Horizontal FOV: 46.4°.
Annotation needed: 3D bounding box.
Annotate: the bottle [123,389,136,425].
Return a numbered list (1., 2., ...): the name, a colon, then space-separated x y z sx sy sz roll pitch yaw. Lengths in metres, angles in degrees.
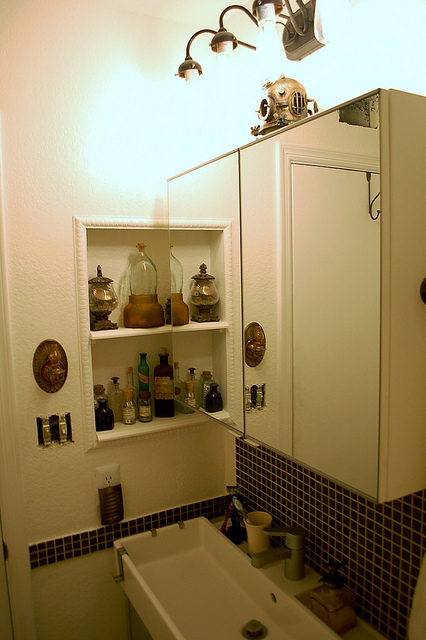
1. bottle: -0.271 0.280 1.593 0.037 0.117 0.028 -8 5 -22

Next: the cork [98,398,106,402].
1. cork: -0.347 0.253 1.555 0.023 0.013 0.012 -8 5 -7

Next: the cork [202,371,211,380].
1. cork: -0.020 0.164 1.458 0.021 0.028 0.024 4 -4 -19

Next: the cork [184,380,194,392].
1. cork: -0.075 0.204 1.544 0.029 0.054 0.046 1 2 -5

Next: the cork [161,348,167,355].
1. cork: -0.163 0.105 1.654 0.017 0.021 0.017 7 10 38

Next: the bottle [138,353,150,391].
1. bottle: -0.231 0.174 1.656 0.041 0.130 0.069 -6 5 -8

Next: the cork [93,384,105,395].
1. cork: -0.360 0.222 1.570 0.026 0.032 0.027 8 22 27

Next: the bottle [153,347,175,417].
1. bottle: -0.168 0.210 1.664 0.070 0.230 0.087 -6 5 -8

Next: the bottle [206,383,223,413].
1. bottle: 0.002 0.226 1.413 0.023 0.082 0.100 -7 5 -19

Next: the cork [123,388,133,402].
1. cork: -0.270 0.239 1.581 0.030 0.037 0.032 0 -2 -1

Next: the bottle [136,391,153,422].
1. bottle: -0.229 0.285 1.634 0.049 0.105 0.058 -7 5 -8

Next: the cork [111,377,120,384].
1. cork: -0.313 0.196 1.598 0.020 0.021 0.021 11 -13 -40

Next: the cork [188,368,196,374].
1. cork: -0.064 0.155 1.509 0.016 0.017 0.018 -2 20 7

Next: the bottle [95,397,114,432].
1. bottle: -0.343 0.296 1.556 0.053 0.070 0.037 -7 5 -11

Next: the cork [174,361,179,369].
1. cork: -0.117 0.145 1.571 0.019 0.024 0.019 2 1 44

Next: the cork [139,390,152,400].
1. cork: -0.218 0.247 1.627 0.029 0.033 0.050 -4 6 27

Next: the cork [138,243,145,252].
1. cork: -0.227 -0.230 1.575 0.016 0.031 0.051 -6 5 -5

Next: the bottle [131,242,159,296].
1. bottle: -0.227 -0.147 1.612 0.087 0.210 0.095 -4 -6 0

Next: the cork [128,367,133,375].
1. cork: -0.270 0.169 1.626 0.011 0.026 0.029 -6 5 0
